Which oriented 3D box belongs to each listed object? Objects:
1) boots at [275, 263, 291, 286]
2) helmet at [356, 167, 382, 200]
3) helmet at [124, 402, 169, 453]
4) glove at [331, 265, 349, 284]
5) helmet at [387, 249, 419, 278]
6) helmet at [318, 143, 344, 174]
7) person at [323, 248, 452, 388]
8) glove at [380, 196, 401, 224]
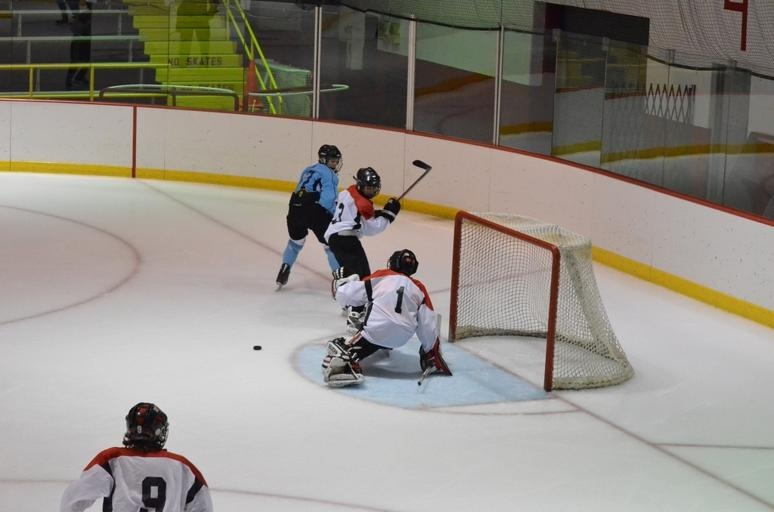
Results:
[{"bbox_3d":[-1.074,0.194,7.839,0.099,0.292,0.121,14,11,-2],"label":"boots"},{"bbox_3d":[-0.184,-0.668,7.022,0.208,0.297,0.227,0,16,-3],"label":"helmet"},{"bbox_3d":[-1.264,0.867,3.870,0.224,0.233,0.221,4,14,-3],"label":"helmet"},{"bbox_3d":[-0.478,0.193,7.196,0.139,0.115,0.162,-4,-2,-33],"label":"glove"},{"bbox_3d":[0.136,0.056,6.046,0.195,0.198,0.229,3,16,-19],"label":"helmet"},{"bbox_3d":[-0.614,-1.013,7.836,0.338,0.290,0.250,3,11,-10],"label":"helmet"},{"bbox_3d":[-0.005,0.402,6.128,1.000,0.870,1.076,5,24,2],"label":"person"},{"bbox_3d":[0.042,-0.451,7.185,0.178,0.089,0.270,16,43,13],"label":"glove"}]
